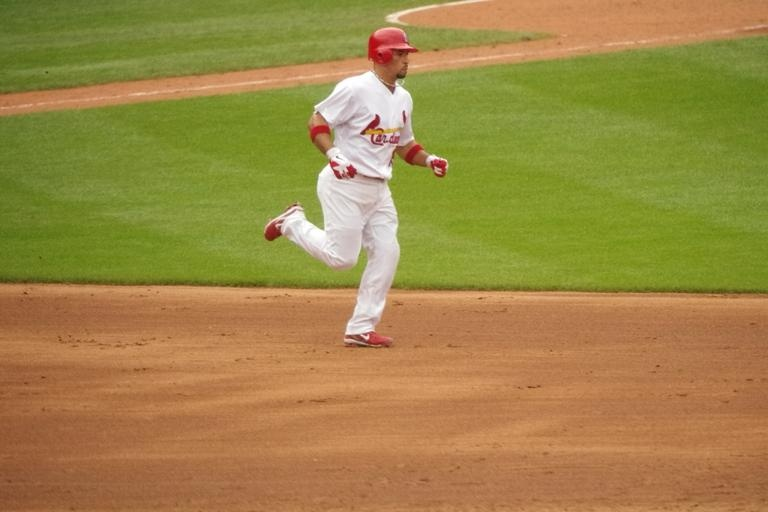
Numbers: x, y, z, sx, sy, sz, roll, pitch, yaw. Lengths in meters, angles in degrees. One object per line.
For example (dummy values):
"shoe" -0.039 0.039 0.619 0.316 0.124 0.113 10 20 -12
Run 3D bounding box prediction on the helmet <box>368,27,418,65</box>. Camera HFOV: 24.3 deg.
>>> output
"helmet" 0.100 -2.764 23.683 0.657 0.328 0.427 -1 9 9

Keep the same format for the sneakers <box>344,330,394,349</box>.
"sneakers" -0.197 1.141 23.902 0.685 0.235 0.223 0 -1 3

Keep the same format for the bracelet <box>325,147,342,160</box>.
"bracelet" -0.645 -1.317 23.434 0.187 0.069 0.163 22 17 36

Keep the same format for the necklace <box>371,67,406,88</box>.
"necklace" 0.038 -2.324 23.668 0.405 0.137 0.286 28 21 19

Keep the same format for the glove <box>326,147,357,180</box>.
"glove" -0.545 -1.164 23.438 0.383 0.423 0.358 -2 22 -1
